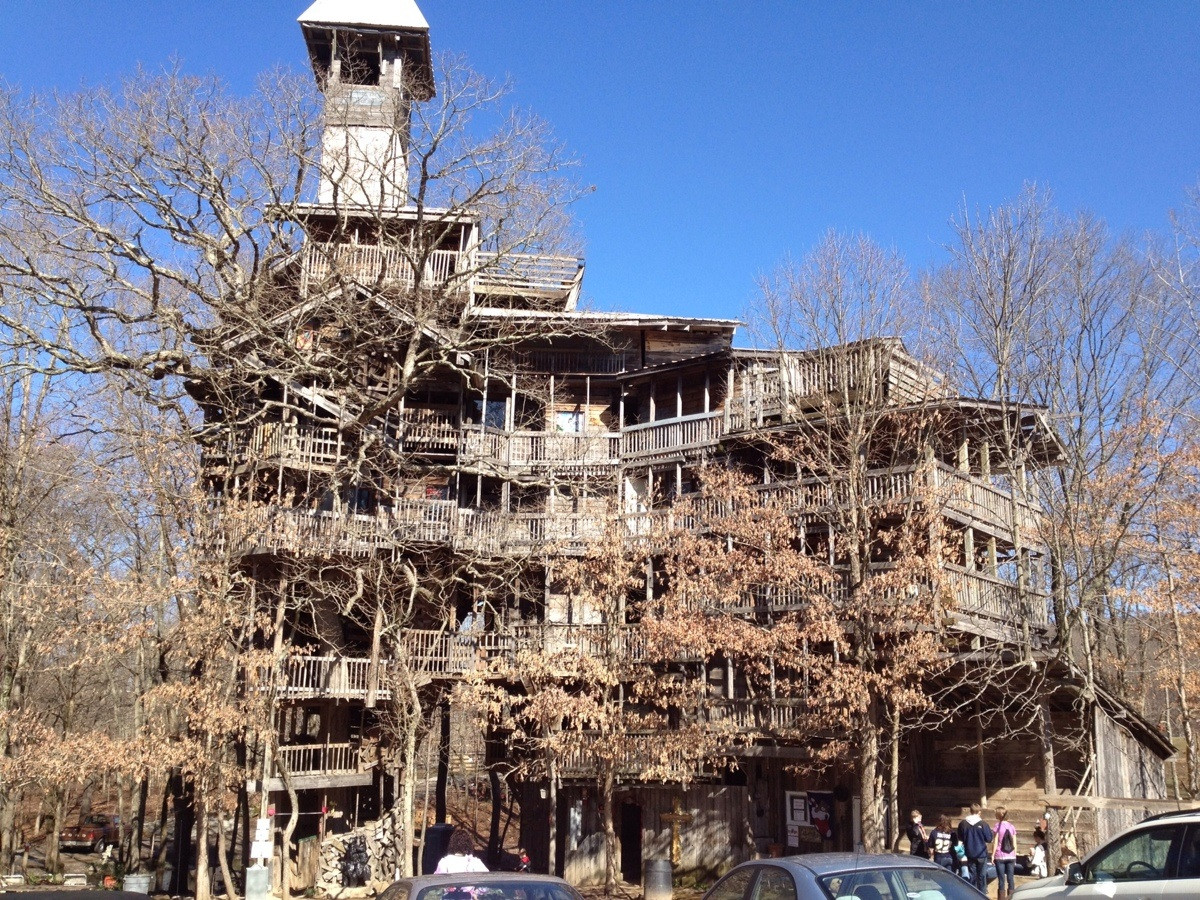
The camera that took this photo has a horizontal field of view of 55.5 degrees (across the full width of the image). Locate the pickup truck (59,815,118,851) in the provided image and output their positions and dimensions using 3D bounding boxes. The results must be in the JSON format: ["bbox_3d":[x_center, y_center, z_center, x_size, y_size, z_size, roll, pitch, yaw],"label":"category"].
[{"bbox_3d":[-24.660,18.435,54.990,1.784,1.574,3.524,0,-25,-1],"label":"pickup truck"}]

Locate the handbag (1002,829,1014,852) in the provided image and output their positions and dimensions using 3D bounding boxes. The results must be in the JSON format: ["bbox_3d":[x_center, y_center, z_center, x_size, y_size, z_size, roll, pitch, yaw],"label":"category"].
[{"bbox_3d":[9.959,9.473,27.685,0.322,0.473,0.164,14,21,-23],"label":"handbag"}]
